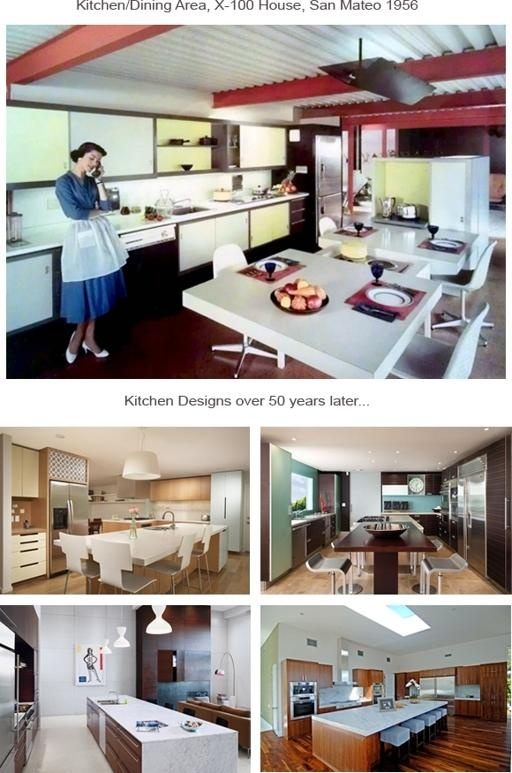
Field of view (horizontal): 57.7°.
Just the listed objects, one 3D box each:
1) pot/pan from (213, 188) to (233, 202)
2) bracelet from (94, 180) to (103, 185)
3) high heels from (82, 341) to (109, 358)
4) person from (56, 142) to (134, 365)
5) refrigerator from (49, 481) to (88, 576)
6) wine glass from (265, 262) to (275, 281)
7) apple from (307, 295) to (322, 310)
[{"bbox_3d":[-0.462,-2.656,6.455,0.170,0.126,0.189,4,9,22],"label":"pot/pan"},{"bbox_3d":[-1.028,-1.334,3.029,0.053,0.040,0.019,-2,1,33],"label":"bracelet"},{"bbox_3d":[-1.116,-0.268,3.231,0.166,0.097,0.100,3,9,8],"label":"high heels"},{"bbox_3d":[-1.117,-0.937,3.134,0.421,1.589,0.717,-2,1,-15],"label":"person"},{"bbox_3d":[-0.915,0.672,2.310,0.174,0.454,0.167,3,8,-14],"label":"refrigerator"},{"bbox_3d":[0.075,-0.600,2.420,0.069,0.143,0.081,0,9,-1],"label":"wine glass"},{"bbox_3d":[0.245,-0.359,1.964,0.042,0.036,0.064,13,47,1],"label":"apple"}]
